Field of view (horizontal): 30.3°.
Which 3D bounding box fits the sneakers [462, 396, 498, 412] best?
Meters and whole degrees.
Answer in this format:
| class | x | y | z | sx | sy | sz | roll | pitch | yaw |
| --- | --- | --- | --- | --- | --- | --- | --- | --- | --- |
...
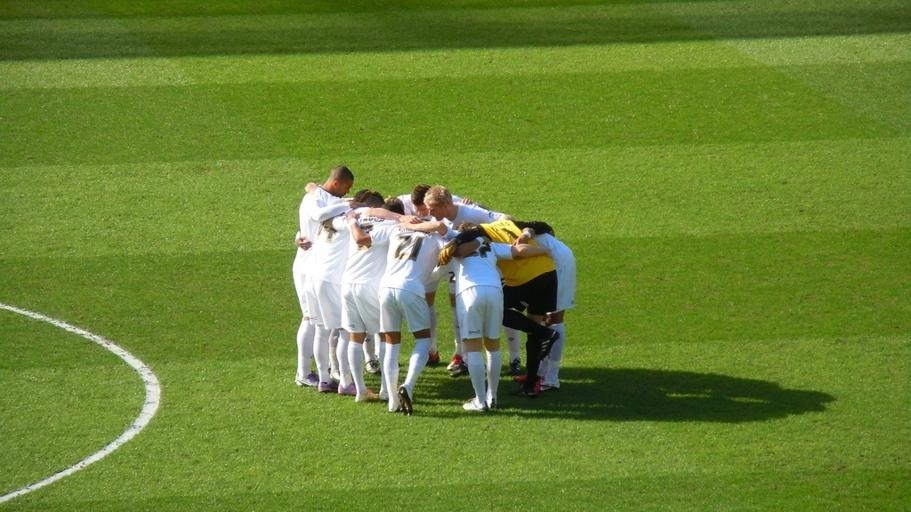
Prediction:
| class | x | y | z | sx | sy | sz | roll | pitch | yaw |
| --- | --- | --- | --- | --- | --- | --- | --- | --- | --- |
| sneakers | 0.458 | 2.957 | 33.220 | 0.735 | 0.257 | 0.257 | 3 | 6 | 28 |
